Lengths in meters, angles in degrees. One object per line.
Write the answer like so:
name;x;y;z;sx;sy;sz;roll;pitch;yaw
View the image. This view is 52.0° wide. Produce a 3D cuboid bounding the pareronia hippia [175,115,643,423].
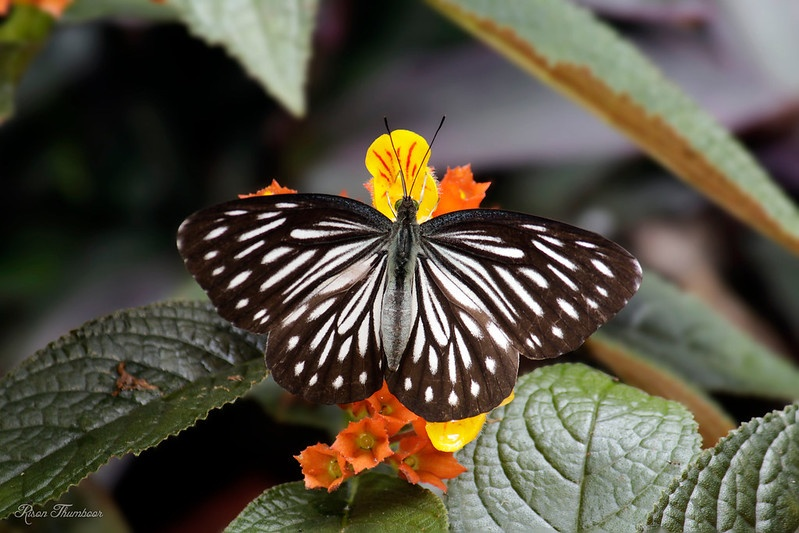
pareronia hippia;-0.030;0.078;1.703;1.181;0.517;0.087;-23;30;48
